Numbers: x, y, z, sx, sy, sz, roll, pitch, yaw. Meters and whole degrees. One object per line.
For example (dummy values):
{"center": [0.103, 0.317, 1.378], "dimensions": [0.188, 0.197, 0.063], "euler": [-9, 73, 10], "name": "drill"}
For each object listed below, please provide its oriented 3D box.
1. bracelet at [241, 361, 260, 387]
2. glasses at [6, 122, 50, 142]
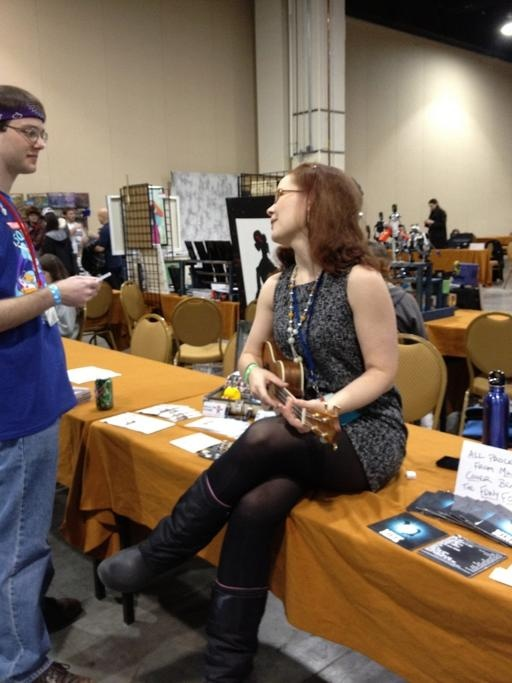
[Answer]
{"center": [-0.018, 0.087, 1.367], "dimensions": [0.043, 0.056, 0.020], "euler": [7, 32, -33], "name": "bracelet"}
{"center": [-0.540, -0.488, 1.194], "dimensions": [0.055, 0.018, 0.055], "euler": [19, 11, 15], "name": "glasses"}
